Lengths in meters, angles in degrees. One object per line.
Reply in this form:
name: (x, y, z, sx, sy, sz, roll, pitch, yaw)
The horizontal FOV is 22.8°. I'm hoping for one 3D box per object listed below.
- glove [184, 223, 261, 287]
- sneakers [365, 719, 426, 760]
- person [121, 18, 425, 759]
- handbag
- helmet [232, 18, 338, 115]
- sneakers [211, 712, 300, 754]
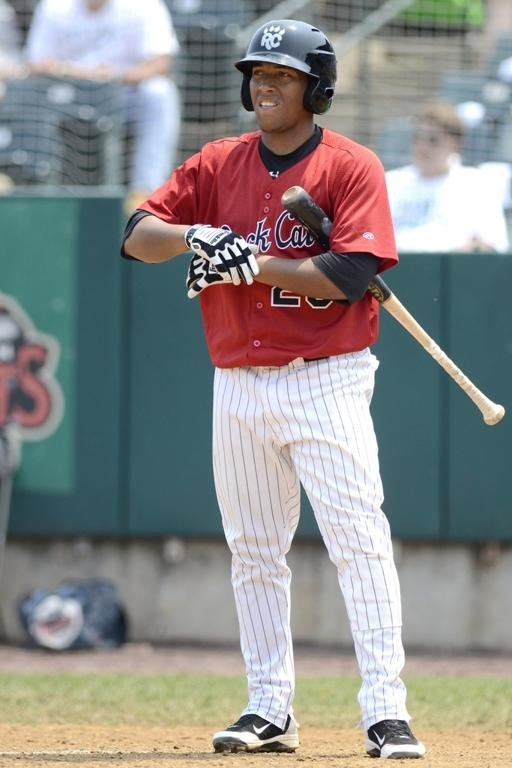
glove: (-0.083, -0.332, 3.214, 0.195, 0.055, 0.112, 42, 15, 36)
sneakers: (0.354, 0.891, 3.201, 0.079, 0.056, 0.155, 4, -12, -22)
person: (0.076, 0.042, 3.349, 0.857, 1.997, 0.494, 2, 9, 20)
handbag: (-0.607, 0.790, 4.342, 0.282, 0.108, 0.205, -4, 50, -32)
helmet: (0.089, -0.821, 3.416, 0.245, 0.208, 0.295, -1, -8, 31)
sneakers: (0.008, 0.919, 3.378, 0.261, 0.098, 0.089, 7, -19, -28)
